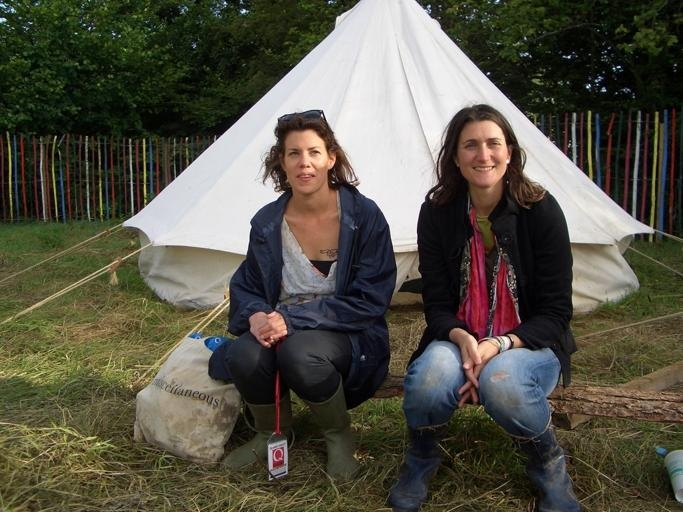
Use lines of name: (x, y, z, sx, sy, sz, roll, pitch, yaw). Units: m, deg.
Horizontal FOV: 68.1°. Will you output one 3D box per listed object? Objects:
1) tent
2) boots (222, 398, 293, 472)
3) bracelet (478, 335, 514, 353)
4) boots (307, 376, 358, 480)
tent: (0.070, -1.319, 5.571, 3.514, 2.069, 3.416, 0, 11, -8)
boots: (-0.421, 0.920, 2.702, 0.449, 0.461, 0.229, 0, 3, -6)
bracelet: (0.724, 0.389, 2.306, 0.102, 0.043, 0.077, 7, 24, 13)
boots: (-0.038, 0.854, 2.500, 0.256, 0.480, 0.142, -1, 10, -5)
